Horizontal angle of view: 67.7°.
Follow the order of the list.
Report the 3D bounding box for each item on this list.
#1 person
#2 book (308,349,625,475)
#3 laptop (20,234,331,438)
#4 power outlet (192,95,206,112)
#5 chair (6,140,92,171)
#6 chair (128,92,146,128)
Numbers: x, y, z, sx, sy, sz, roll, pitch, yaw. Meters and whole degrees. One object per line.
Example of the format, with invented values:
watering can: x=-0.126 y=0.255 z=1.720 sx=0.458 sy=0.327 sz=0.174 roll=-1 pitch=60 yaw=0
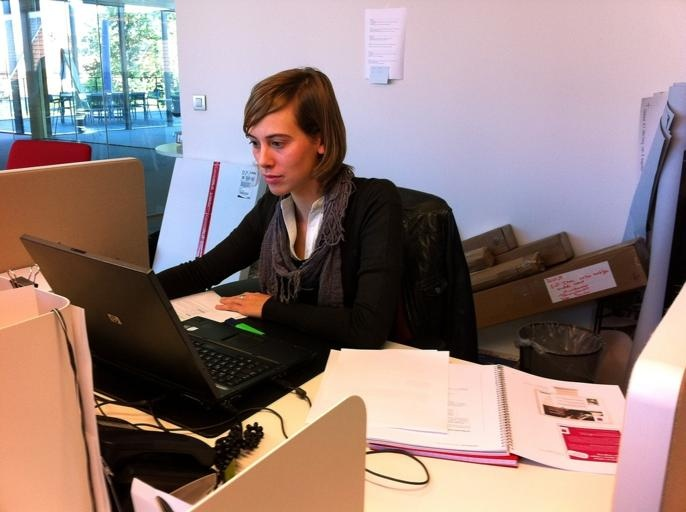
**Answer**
person: x=-0.075 y=-0.106 z=1.713 sx=0.690 sy=0.964 sz=0.669 roll=14 pitch=22 yaw=28
book: x=0.261 y=0.312 z=1.041 sx=0.433 sy=0.059 sz=0.307 roll=2 pitch=16 yaw=16
laptop: x=-0.333 y=0.125 z=1.144 sx=0.435 sy=0.370 sz=0.481 roll=8 pitch=14 yaw=35
power outlet: x=-1.025 y=-1.090 z=3.637 sx=0.116 sy=0.100 sz=0.019 roll=10 pitch=16 yaw=35
chair: x=-1.475 y=-0.518 z=2.580 sx=0.602 sy=0.138 sz=0.169 roll=7 pitch=14 yaw=32
chair: x=-1.499 y=-1.130 z=3.842 sx=0.161 sy=0.230 sz=0.150 roll=-4 pitch=18 yaw=-11
